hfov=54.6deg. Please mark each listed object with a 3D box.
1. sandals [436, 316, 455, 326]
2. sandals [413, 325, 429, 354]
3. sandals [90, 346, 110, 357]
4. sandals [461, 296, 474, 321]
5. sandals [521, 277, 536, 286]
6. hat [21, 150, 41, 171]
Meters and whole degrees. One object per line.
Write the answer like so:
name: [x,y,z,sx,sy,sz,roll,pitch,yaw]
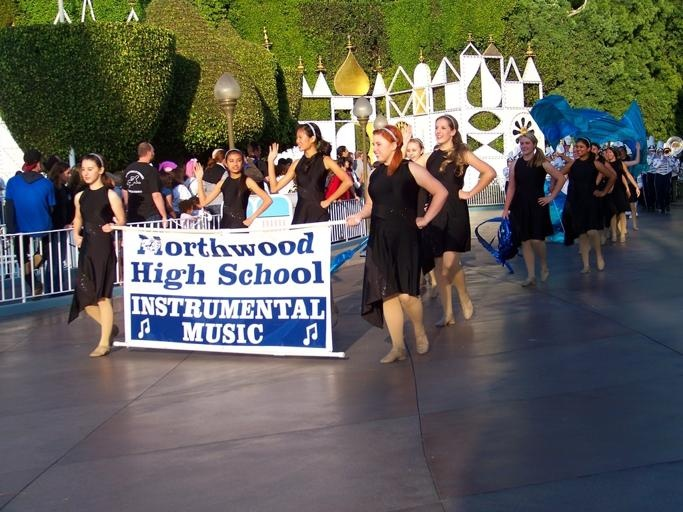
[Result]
sandals: [1.285,0.823,8.186,0.275,0.124,0.087,-1,3,-7]
sandals: [0.856,0.886,7.003,0.135,0.295,0.221,-1,8,8]
sandals: [-2.806,1.099,7.684,0.240,0.120,0.255,-6,9,-22]
sandals: [1.619,0.660,8.480,0.153,0.301,0.408,-1,8,10]
sandals: [2.904,0.406,10.260,0.211,0.134,0.211,-1,8,11]
hat: [-5.063,-1.559,10.804,0.263,0.357,0.335,-6,9,-28]
